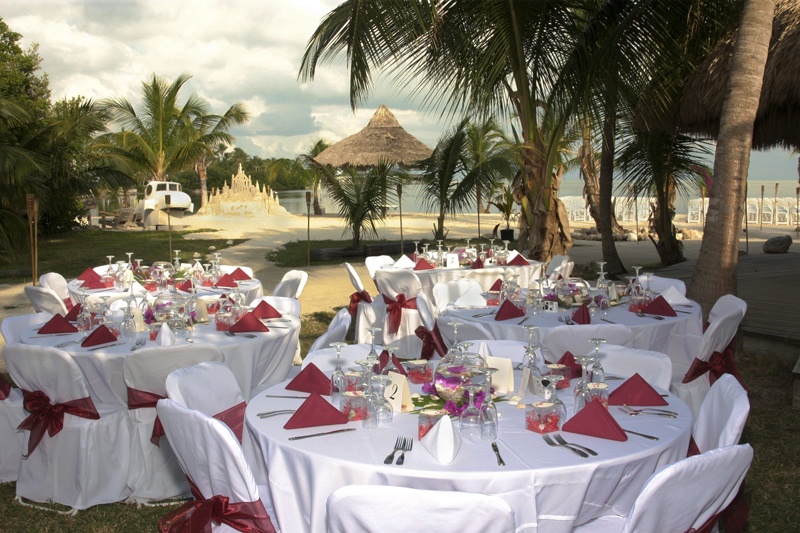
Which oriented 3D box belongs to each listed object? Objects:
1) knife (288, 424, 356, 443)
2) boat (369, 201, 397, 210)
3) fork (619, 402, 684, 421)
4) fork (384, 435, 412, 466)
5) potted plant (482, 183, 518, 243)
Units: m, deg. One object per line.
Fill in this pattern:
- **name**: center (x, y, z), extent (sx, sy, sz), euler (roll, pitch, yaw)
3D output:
- **knife**: center (-0.541, 1.143, 4.361), extent (0.560, 0.031, 0.077), euler (0, 25, -18)
- **boat**: center (-0.478, -1.701, 17.404), extent (0.833, 0.144, 0.161), euler (5, -32, 0)
- **fork**: center (1.809, 1.044, 4.577), extent (0.386, 0.069, 0.062), euler (-1, -37, 7)
- **fork**: center (0.003, 1.211, 4.167), extent (0.074, 0.040, 0.266), euler (5, 29, 15)
- **potted plant**: center (3.860, -1.889, 22.663), extent (1.000, 2.013, 1.166), euler (-1, -3, 39)
